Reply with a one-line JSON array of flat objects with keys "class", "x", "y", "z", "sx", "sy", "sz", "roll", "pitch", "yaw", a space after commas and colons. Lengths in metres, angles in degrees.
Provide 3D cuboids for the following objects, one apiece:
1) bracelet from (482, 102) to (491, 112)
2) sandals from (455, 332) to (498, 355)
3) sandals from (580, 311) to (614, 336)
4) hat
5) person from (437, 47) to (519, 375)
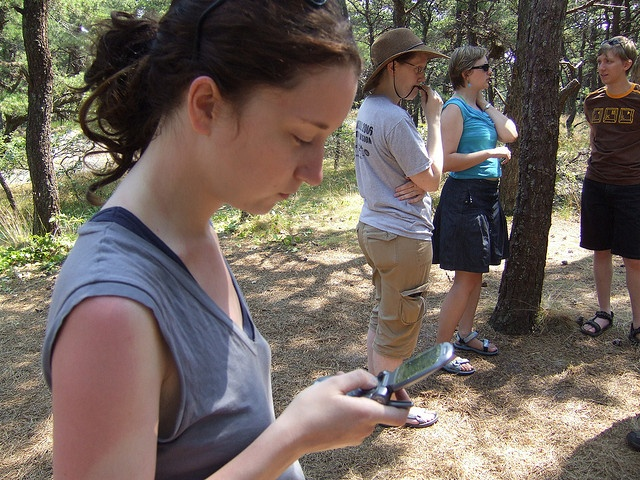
[{"class": "bracelet", "x": 1.428, "y": -1.151, "z": 4.886, "sx": 0.070, "sy": 0.044, "sz": 0.071, "roll": -46, "pitch": -17, "yaw": -14}, {"class": "sandals", "x": 1.414, "y": 0.900, "z": 5.138, "sx": 0.369, "sy": 0.210, "sz": 0.194, "roll": 3, "pitch": 15, "yaw": 19}, {"class": "sandals", "x": 2.653, "y": 0.762, "z": 5.450, "sx": 0.409, "sy": 0.188, "sz": 0.149, "roll": -5, "pitch": 11, "yaw": -40}, {"class": "hat", "x": 0.546, "y": -1.344, "z": 4.122, "sx": 0.637, "sy": 0.360, "sz": 0.576, "roll": -21, "pitch": 10, "yaw": 9}, {"class": "person", "x": 1.235, "y": -0.281, "z": 4.812, "sx": 0.551, "sy": 2.627, "sz": 0.968, "roll": 10, "pitch": 19, "yaw": 42}]
